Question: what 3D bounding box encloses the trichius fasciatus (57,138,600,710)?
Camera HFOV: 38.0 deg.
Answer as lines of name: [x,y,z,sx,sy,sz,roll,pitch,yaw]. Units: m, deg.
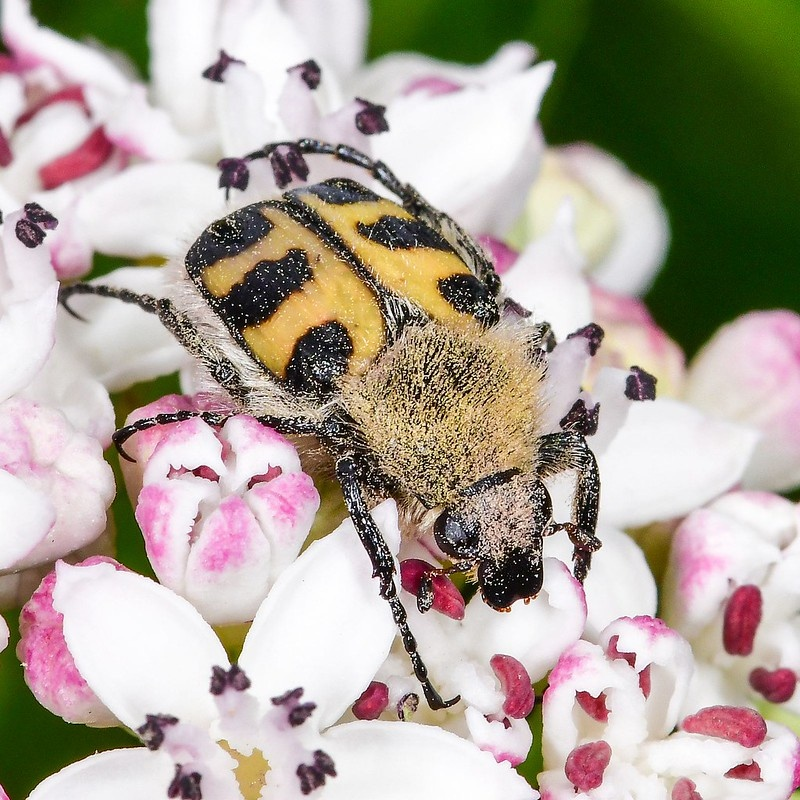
trichius fasciatus: [-0.106,0.023,1.431,0.511,0.226,0.626,-27,75,-30]
